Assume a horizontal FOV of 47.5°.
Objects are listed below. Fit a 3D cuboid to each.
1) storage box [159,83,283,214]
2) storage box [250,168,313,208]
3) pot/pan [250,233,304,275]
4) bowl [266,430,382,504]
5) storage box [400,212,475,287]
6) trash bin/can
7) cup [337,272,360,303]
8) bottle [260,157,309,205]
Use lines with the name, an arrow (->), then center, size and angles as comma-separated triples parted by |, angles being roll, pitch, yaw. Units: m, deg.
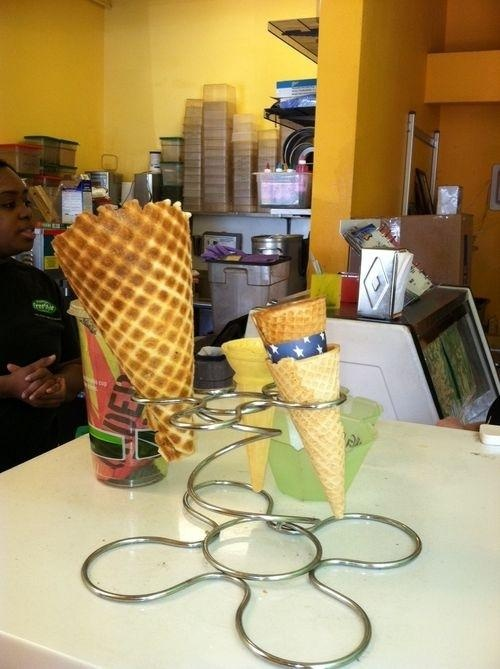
storage box -> -0.224, -1.725, 5.278 | 1.087, 1.198, 0.314 | 5, 10, 19
storage box -> 0.205, -0.995, 3.847 | 0.367, 0.209, 0.245 | 8, 15, 27
pot/pan -> 0.214, -0.620, 4.039 | 0.324, 0.333, 0.318 | 11, 24, 33
bowl -> 0.074, 0.153, 0.682 | 0.135, 0.062, 0.126 | 1, -2, 0
storage box -> 0.987, -0.432, 2.892 | 0.439, 0.349, 0.231 | -3, 10, -27
trash bin/can -> 0.016, -0.281, 3.664 | 0.452, 0.624, 0.592 | 1, 7, 14
cup -> 0.351, -0.162, 1.992 | 0.095, 0.126, 0.098 | 0, 8, 0
bottle -> 0.229, -1.002, 3.858 | 0.412, 0.294, 0.118 | 8, 11, 34
